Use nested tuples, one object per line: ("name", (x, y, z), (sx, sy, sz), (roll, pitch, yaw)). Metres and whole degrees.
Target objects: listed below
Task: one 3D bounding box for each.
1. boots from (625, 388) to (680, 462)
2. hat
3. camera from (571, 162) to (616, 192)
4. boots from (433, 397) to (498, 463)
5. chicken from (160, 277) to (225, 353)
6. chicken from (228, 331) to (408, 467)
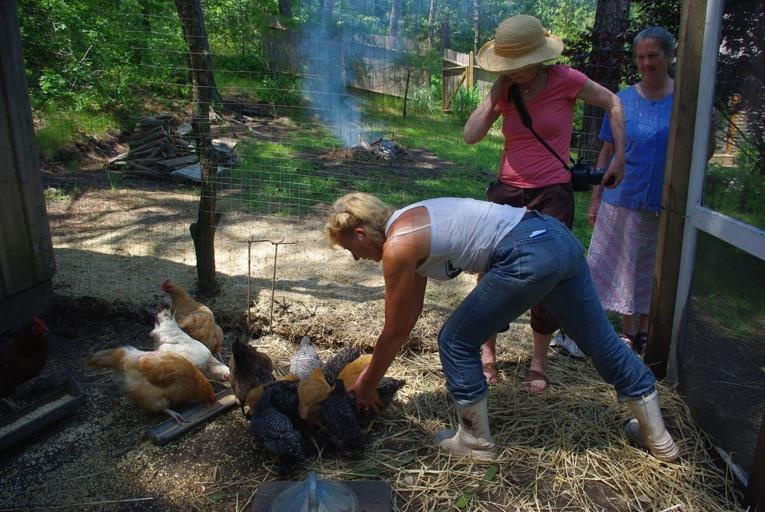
("boots", (2.032, 1.277, 4.591), (0.211, 0.513, 0.506), (-21, 6, -18))
("hat", (1.132, -1.800, 4.829), (0.702, 0.311, 0.795), (7, 41, 26))
("camera", (1.725, -0.661, 4.923), (0.254, 0.161, 0.265), (1, 12, 7))
("boots", (0.615, 1.308, 4.552), (0.472, 0.492, 0.218), (3, 22, 38))
("chicken", (-1.862, 0.582, 5.820), (0.516, 0.663, 0.308), (22, 39, 12))
("chicken", (-0.574, 1.272, 4.747), (1.219, 0.730, 0.935), (5, 34, 40))
